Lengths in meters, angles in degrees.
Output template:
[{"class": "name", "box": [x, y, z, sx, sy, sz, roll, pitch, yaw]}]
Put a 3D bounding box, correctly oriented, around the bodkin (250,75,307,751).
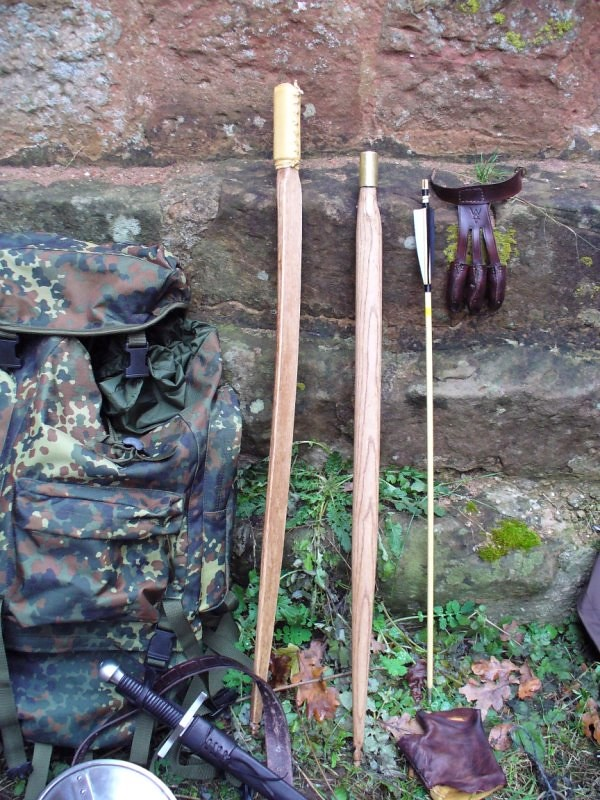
[{"class": "bodkin", "box": [-0.066, 0.044, 1.983, 0.138, 1.772, 0.099, 4, 3, -5]}]
